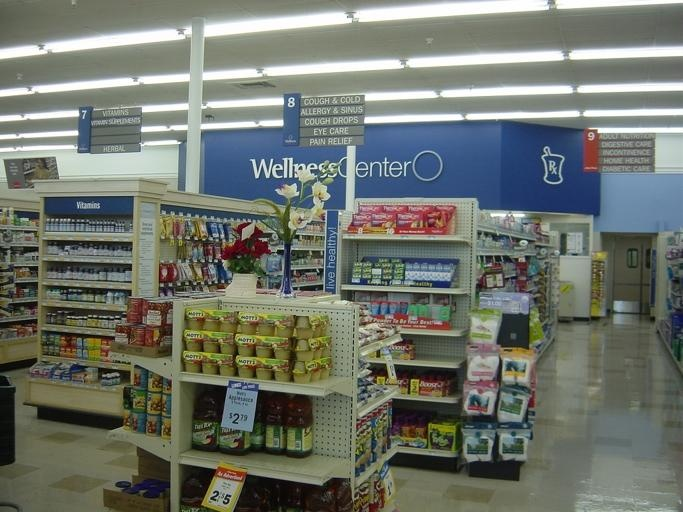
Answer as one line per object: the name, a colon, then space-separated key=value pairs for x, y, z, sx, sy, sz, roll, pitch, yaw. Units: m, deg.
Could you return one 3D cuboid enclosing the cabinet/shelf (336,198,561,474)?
cabinet/shelf: x=1.073 y=0.843 z=6.038 sx=0.992 sy=2.621 sz=3.104 roll=-1 pitch=-3 yaw=28
